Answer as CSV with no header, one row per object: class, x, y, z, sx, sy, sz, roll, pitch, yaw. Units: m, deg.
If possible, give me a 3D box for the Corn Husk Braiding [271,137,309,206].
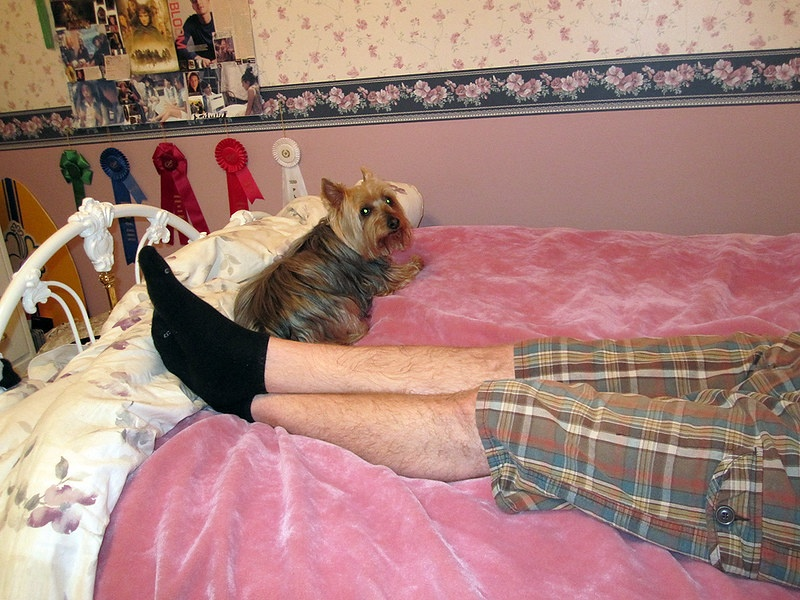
Corn Husk Braiding,-0.677,-0.712,3.329,0.250,0.589,0.059,10,47,5
